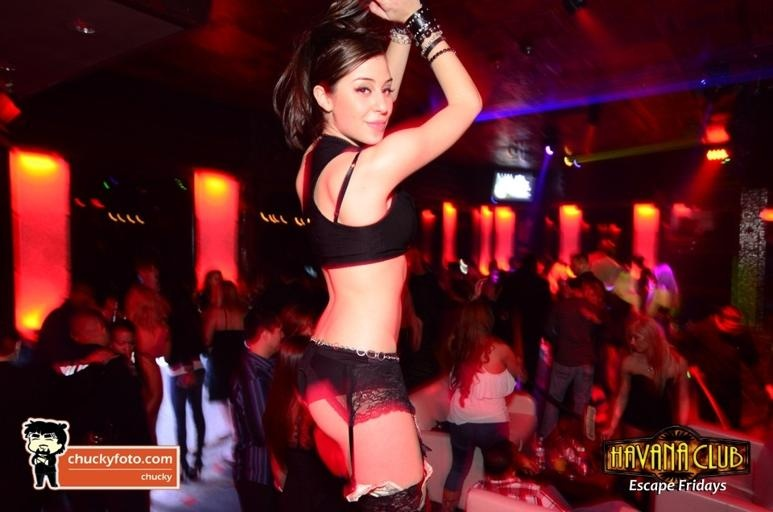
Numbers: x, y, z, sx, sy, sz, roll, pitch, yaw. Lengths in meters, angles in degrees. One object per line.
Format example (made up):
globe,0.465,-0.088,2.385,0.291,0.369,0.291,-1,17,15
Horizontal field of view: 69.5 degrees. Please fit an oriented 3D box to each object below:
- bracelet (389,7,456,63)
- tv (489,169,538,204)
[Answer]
bracelet,0.262,-1.724,4.308,0.373,0.491,0.195,-41,-4,39
tv,3.393,-1.915,15.022,1.171,0.807,0.399,1,0,-18
